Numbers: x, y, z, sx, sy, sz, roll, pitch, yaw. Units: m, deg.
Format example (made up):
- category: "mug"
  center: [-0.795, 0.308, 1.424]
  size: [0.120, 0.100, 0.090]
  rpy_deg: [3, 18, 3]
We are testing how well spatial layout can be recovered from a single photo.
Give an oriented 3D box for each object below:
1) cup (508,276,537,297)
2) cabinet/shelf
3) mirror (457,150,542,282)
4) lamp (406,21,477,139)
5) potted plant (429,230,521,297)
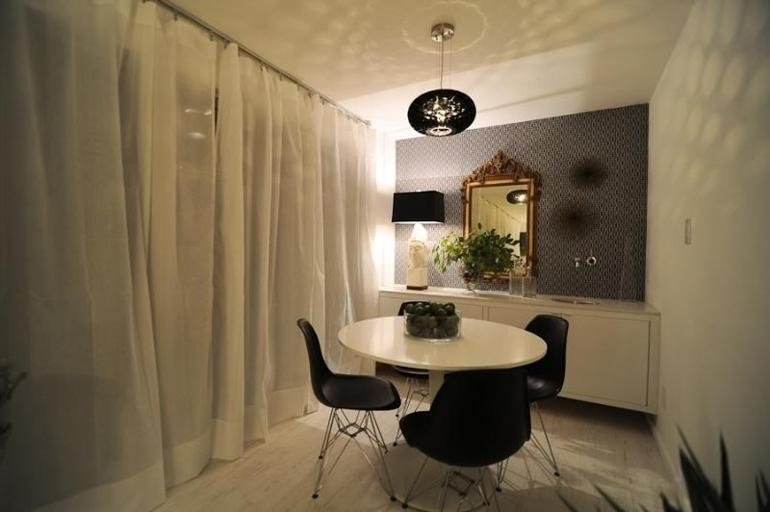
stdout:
- category: "cup"
  center: [1.290, 0.273, 5.174]
  size: [0.287, 0.184, 0.120]
  rpy_deg: [13, 18, 39]
- category: "cabinet/shelf"
  center: [1.787, 0.776, 5.015]
  size: [0.524, 0.919, 1.465]
  rpy_deg: [-23, 15, -36]
- category: "mirror"
  center: [1.156, -0.409, 5.531]
  size: [0.851, 1.406, 0.096]
  rpy_deg: [1, -23, 14]
- category: "lamp"
  center: [0.443, -1.355, 4.136]
  size: [0.478, 0.817, 0.653]
  rpy_deg: [2, 14, 5]
- category: "potted plant"
  center: [0.926, 0.051, 5.544]
  size: [0.684, 0.486, 0.672]
  rpy_deg: [2, -6, -42]
